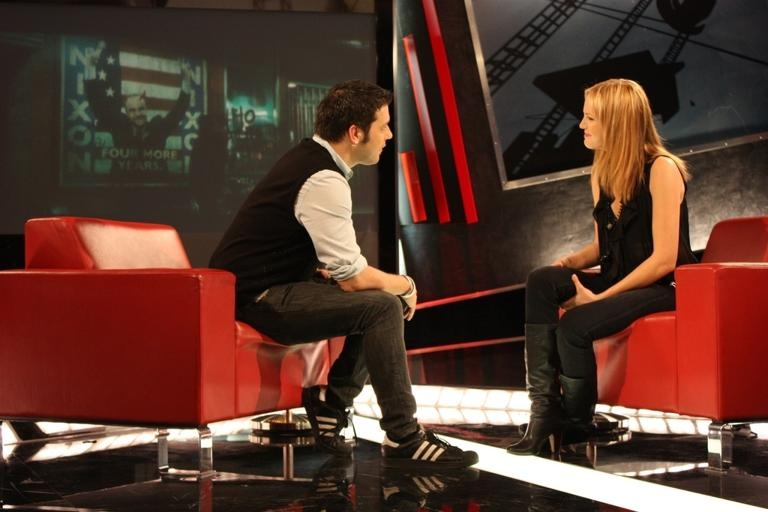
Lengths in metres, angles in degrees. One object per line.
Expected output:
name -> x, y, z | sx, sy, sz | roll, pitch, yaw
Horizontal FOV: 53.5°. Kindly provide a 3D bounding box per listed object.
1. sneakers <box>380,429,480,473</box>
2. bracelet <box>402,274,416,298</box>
sneakers -> 0.182, 0.822, 3.225 | 0.443, 0.161, 0.151 | 0, -4, 2
bracelet -> 0.125, 0.145, 3.356 | 0.079, 0.061, 0.095 | -3, 5, 3
